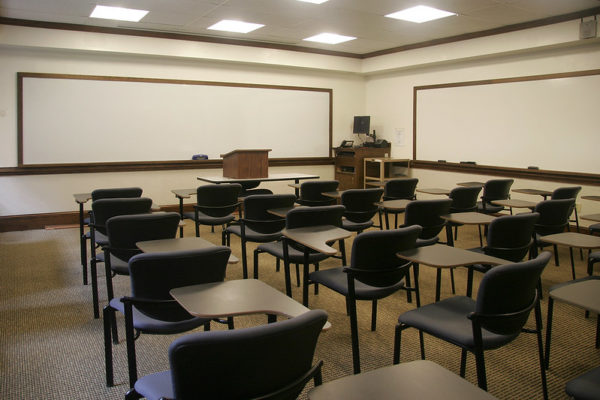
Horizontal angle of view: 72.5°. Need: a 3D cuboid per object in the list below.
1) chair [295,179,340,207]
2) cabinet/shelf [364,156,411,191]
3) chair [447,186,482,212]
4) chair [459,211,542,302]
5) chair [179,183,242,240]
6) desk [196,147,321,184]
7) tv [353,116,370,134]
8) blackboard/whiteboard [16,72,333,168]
[{"bbox_3d":[0.227,-0.131,5.671,0.401,0.443,0.411,-3,14,-13],"label":"chair"},{"bbox_3d":[1.939,-0.615,9.206,0.870,0.664,0.643,-7,13,-35],"label":"cabinet/shelf"},{"bbox_3d":[2.103,-0.009,5.253,0.344,0.414,0.331,-4,14,-11],"label":"chair"},{"bbox_3d":[1.900,0.568,3.912,0.703,0.852,0.680,-6,2,40],"label":"chair"},{"bbox_3d":[-1.155,0.096,5.587,0.726,0.760,0.756,-5,15,-31],"label":"chair"},{"bbox_3d":[-0.796,-0.504,6.393,1.485,0.569,0.735,-2,11,-12],"label":"desk"},{"bbox_3d":[1.427,-1.758,9.527,0.479,0.428,0.164,3,7,19],"label":"tv"},{"bbox_3d":[-2.314,-1.563,8.097,5.572,1.599,0.739,-4,12,-20],"label":"blackboard/whiteboard"}]
